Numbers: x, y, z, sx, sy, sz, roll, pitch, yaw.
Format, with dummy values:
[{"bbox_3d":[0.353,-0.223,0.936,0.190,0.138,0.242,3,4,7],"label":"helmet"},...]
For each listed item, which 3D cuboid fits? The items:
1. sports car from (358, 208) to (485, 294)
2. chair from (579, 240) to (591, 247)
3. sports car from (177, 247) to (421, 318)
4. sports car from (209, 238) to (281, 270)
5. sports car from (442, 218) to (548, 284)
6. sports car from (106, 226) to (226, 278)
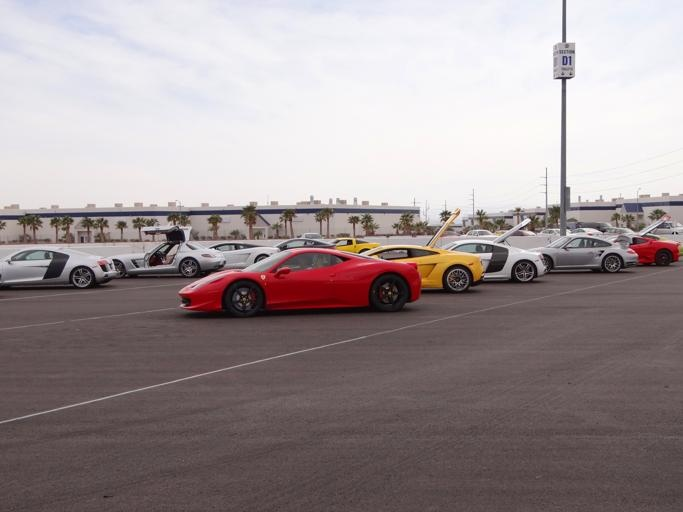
[{"bbox_3d":[1.990,-0.177,16.604,3.807,1.914,1.738,-4,14,7],"label":"sports car"},{"bbox_3d":[9.031,-0.472,22.374,0.276,0.233,0.231,0,-4,3],"label":"chair"},{"bbox_3d":[-0.731,0.610,12.605,3.832,0.887,1.909,1,-3,-6],"label":"sports car"},{"bbox_3d":[-4.063,-0.139,24.671,2.700,0.628,1.519,1,3,1],"label":"sports car"},{"bbox_3d":[4.929,-0.095,19.150,3.244,1.414,1.676,1,2,2],"label":"sports car"},{"bbox_3d":[-6.856,-0.261,23.105,4.868,1.718,1.815,-2,9,8],"label":"sports car"}]
